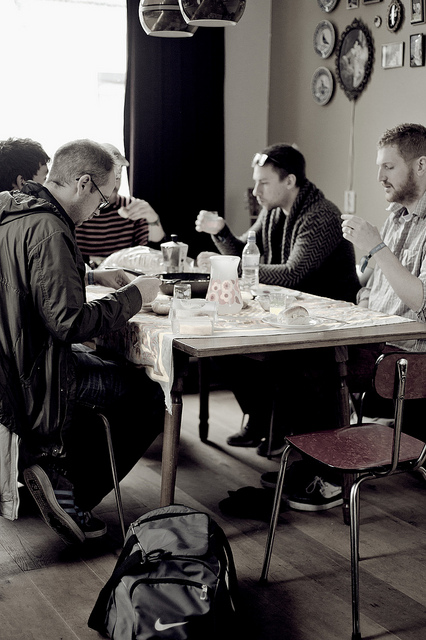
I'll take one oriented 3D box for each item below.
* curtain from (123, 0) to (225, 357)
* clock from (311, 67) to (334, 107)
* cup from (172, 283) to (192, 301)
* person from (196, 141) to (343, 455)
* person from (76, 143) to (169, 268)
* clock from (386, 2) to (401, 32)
[{"bbox_3d":[-0.232,-1.208,3.497,0.718,2.080,0.388,0,0,-16],"label":"curtain"},{"bbox_3d":[0.711,-1.524,3.473,0.198,0.209,0.197,-2,8,-11],"label":"clock"},{"bbox_3d":[-0.088,-0.081,1.586,0.058,0.070,0.060,1,0,0],"label":"cup"},{"bbox_3d":[0.283,-0.081,2.640,0.795,1.499,0.606,3,4,-6],"label":"person"},{"bbox_3d":[-0.586,-0.618,3.264,0.571,0.830,0.454,-13,0,-17],"label":"person"},{"bbox_3d":[0.991,-1.667,2.889,0.028,0.164,0.108,0,0,-18],"label":"clock"}]
